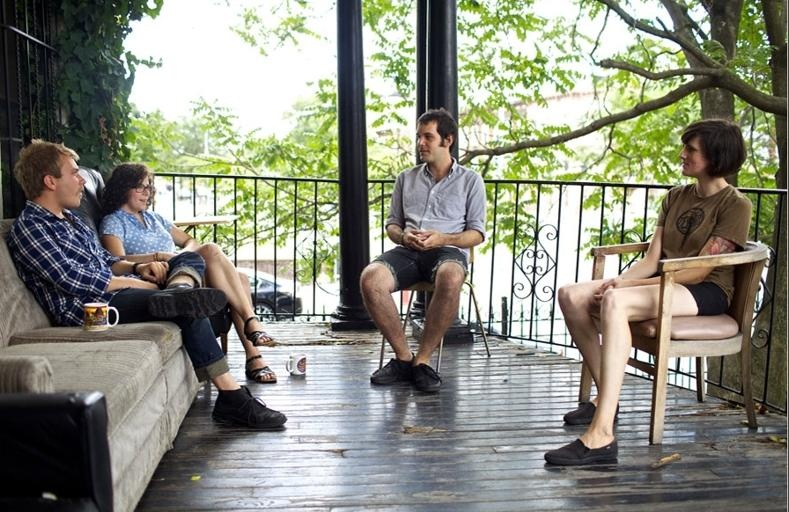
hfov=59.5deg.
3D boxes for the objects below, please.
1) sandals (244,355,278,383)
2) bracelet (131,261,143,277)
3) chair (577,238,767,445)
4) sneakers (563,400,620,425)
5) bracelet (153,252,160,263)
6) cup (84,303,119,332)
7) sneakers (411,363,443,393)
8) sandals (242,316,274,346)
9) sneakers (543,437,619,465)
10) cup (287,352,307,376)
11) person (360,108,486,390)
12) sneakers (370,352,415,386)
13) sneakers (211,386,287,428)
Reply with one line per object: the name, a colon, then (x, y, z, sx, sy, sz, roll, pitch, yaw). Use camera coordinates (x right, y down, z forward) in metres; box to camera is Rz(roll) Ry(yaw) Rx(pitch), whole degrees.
sandals: (-0.900, 0.767, 4.655, 0.117, 0.116, 0.281, -2, 4, -28)
bracelet: (-1.553, 0.079, 4.151, 0.064, 0.046, 0.063, 0, -12, -2)
chair: (1.756, 0.460, 4.171, 0.844, 0.917, 0.971, -1, 2, 4)
sneakers: (1.160, 0.932, 4.094, 0.358, 0.126, 0.138, -1, -1, -9)
bracelet: (-1.482, 0.009, 4.287, 0.054, 0.041, 0.020, 2, 16, 13)
cup: (-1.608, 0.336, 3.795, 0.189, 0.128, 0.119, 3, -1, -22)
sneakers: (0.208, 0.793, 4.519, 0.196, 0.150, 0.199, 1, 14, 3)
sandals: (-0.869, 0.472, 4.299, 0.107, 0.112, 0.289, -11, 5, -32)
sneakers: (0.980, 1.041, 3.660, 0.359, 0.113, 0.146, 0, -6, -7)
cup: (-0.661, 0.745, 4.777, 0.100, 0.129, 0.158, 6, 9, 34)
person: (0.197, -0.070, 4.738, 0.810, 1.793, 1.036, 2, 15, 6)
sneakers: (-0.025, 0.773, 4.620, 0.287, 0.145, 0.148, 0, 14, -1)
sneakers: (-0.850, 0.878, 4.074, 0.465, 0.217, 0.188, 4, 4, 2)
